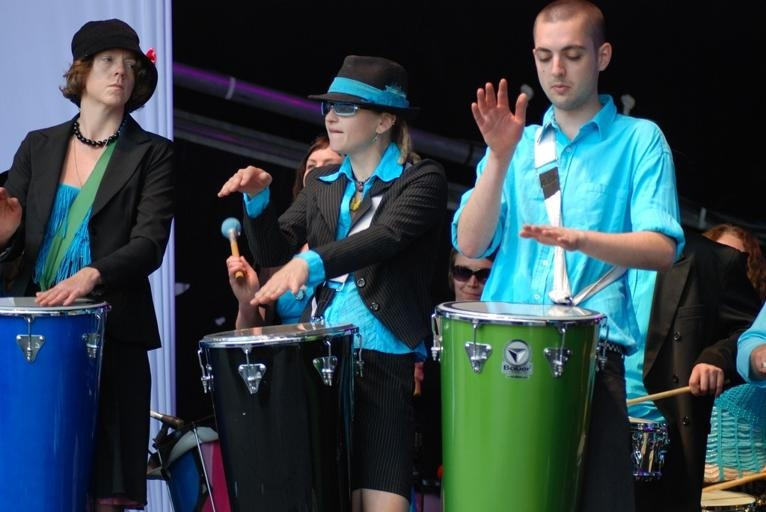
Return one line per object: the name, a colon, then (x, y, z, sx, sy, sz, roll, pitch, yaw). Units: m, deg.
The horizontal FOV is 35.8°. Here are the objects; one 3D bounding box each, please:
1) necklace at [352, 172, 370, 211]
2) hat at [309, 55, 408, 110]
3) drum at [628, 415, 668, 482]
necklace: (-0.113, -0.307, 5.765, 0.107, 0.145, 0.052, -3, -17, 32)
hat: (-0.126, -0.910, 5.918, 0.499, 0.213, 0.529, 18, 13, 9)
drum: (1.343, 0.991, 6.019, 0.200, 0.262, 0.191, 4, -4, 0)
